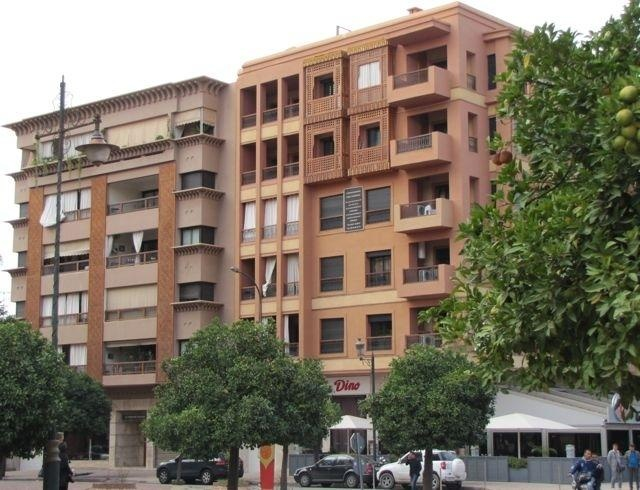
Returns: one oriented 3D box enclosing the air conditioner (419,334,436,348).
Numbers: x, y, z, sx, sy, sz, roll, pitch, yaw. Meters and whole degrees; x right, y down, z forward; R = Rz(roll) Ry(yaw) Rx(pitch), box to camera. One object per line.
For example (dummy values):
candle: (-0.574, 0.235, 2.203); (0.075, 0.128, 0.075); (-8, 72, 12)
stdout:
air conditioner: (5.132, 4.509, 51.995); (0.764, 0.784, 0.570); (-6, -12, 40)

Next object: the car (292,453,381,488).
car: (0.720, 10.098, 48.591); (4.060, 1.618, 1.144); (-15, -20, 34)

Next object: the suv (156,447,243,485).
suv: (-5.807, 10.506, 50.565); (3.506, 1.411, 1.479); (-11, -19, 26)

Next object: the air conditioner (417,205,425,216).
air conditioner: (4.976, -1.690, 53.272); (0.335, 0.573, 0.504); (0, -12, 1)
